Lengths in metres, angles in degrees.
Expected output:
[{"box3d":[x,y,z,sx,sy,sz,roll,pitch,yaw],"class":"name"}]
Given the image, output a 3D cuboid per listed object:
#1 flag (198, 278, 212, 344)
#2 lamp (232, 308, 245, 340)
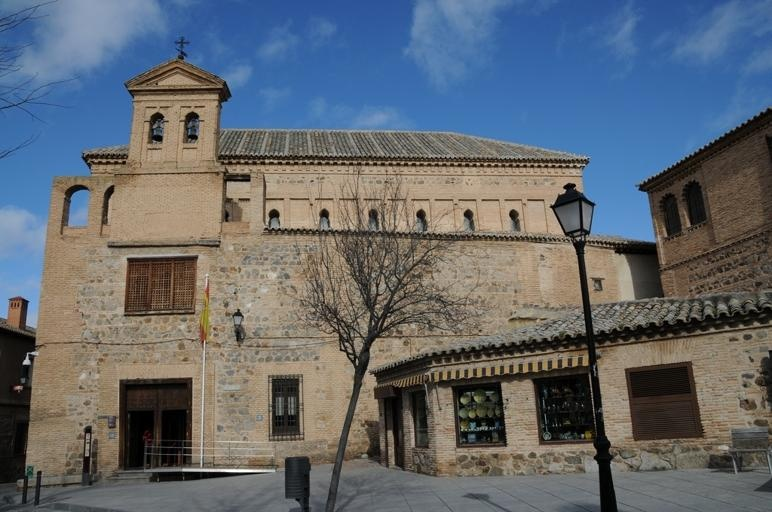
[{"box3d":[-8.277,2.451,28.698,0.497,3.089,0.692,-1,-21,-4],"class":"flag"},{"box3d":[-6.701,3.098,28.563,0.516,1.500,0.857,1,-20,-8],"class":"lamp"}]
